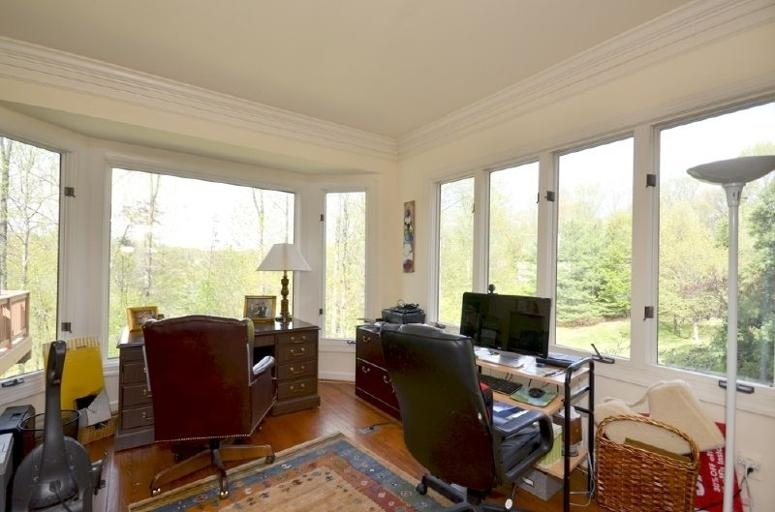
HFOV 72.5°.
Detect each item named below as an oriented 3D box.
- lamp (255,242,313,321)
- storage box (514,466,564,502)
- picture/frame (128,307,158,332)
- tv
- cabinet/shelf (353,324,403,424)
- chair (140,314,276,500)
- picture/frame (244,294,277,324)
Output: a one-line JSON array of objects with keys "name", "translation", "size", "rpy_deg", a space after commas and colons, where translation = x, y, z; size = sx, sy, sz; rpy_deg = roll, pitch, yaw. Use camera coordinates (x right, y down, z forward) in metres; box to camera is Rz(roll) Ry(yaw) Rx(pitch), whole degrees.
[{"name": "lamp", "translation": [-1.201, 0.293, 5.877], "size": [0.521, 0.879, 0.487], "rpy_deg": [0, -2, -31]}, {"name": "storage box", "translation": [1.286, 1.952, 4.594], "size": [0.280, 0.174, 0.287], "rpy_deg": [5, -2, -41]}, {"name": "picture/frame", "translation": [-2.379, 0.620, 5.129], "size": [0.038, 0.194, 0.231], "rpy_deg": [-22, -16, 33]}, {"name": "tv", "translation": [1.046, 0.630, 4.782], "size": [0.847, 0.562, 0.236], "rpy_deg": [3, 2, 35]}, {"name": "cabinet/shelf", "translation": [-0.242, 1.361, 6.030], "size": [0.446, 0.833, 0.912], "rpy_deg": [-16, -33, 24]}, {"name": "chair", "translation": [-1.561, 1.249, 4.797], "size": [1.012, 1.470, 0.968], "rpy_deg": [-1, 2, 0]}, {"name": "picture/frame", "translation": [-1.417, 0.603, 5.920], "size": [0.289, 0.243, 0.049], "rpy_deg": [0, -13, -4]}]
